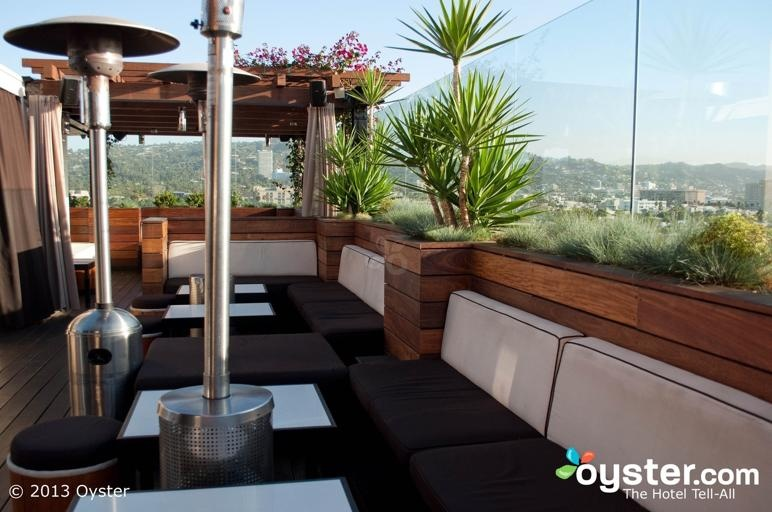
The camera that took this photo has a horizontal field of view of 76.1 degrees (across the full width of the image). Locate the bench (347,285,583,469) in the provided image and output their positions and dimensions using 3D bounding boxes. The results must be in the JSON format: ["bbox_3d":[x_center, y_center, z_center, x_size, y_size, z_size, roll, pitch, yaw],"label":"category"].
[{"bbox_3d":[0.353,0.703,2.933,0.950,0.667,1.275,-2,5,-14],"label":"bench"}]

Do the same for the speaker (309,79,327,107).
[{"bbox_3d":[-0.995,-2.393,7.309,0.235,0.385,0.150,2,9,-13],"label":"speaker"}]

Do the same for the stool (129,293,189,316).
[{"bbox_3d":[-2.217,0.470,4.802,0.437,0.128,0.259,0,4,-34],"label":"stool"}]

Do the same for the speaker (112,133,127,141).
[{"bbox_3d":[-6.753,-2.968,12.463,0.321,0.221,0.458,-1,10,-29],"label":"speaker"}]

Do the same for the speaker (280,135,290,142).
[{"bbox_3d":[-2.452,-2.809,11.926,0.262,0.147,0.153,3,9,1],"label":"speaker"}]
